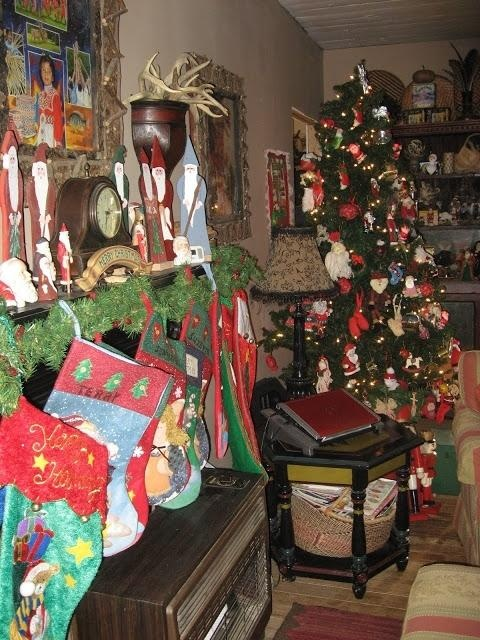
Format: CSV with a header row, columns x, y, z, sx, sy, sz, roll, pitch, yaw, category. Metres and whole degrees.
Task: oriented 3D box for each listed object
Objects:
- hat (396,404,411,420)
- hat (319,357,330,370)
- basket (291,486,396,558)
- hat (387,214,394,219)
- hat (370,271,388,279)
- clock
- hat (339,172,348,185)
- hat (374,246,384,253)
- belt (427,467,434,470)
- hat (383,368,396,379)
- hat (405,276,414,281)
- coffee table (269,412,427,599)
x,y,z,sx,sy,sz,roll,pitch,yaw,category
0.991,0.565,3.089,0.061,0.107,0.042,24,-16,33,hat
0.529,0.270,3.211,0.072,0.081,0.072,15,-14,-24,hat
0.428,0.967,2.455,0.374,0.257,0.299,3,-9,19,basket
0.944,-0.653,3.193,0.034,0.040,0.058,6,36,14,hat
0.872,-0.285,3.173,0.093,0.051,0.046,7,7,21,hat
-0.332,-0.216,1.198,0.106,0.240,0.298,7,15,17,clock
0.647,-0.878,3.149,0.050,0.069,0.031,8,-7,10,hat
0.877,-0.444,3.198,0.046,0.069,0.044,3,20,7,hat
1.124,0.877,3.015,0.023,0.006,0.024,-3,6,-24,belt
0.914,0.319,3.115,0.060,0.065,0.058,1,4,6,hat
1.053,-0.261,3.162,0.053,0.034,0.071,6,7,17,hat
0.421,0.819,2.481,0.776,0.691,0.741,-3,12,-6,coffee table
